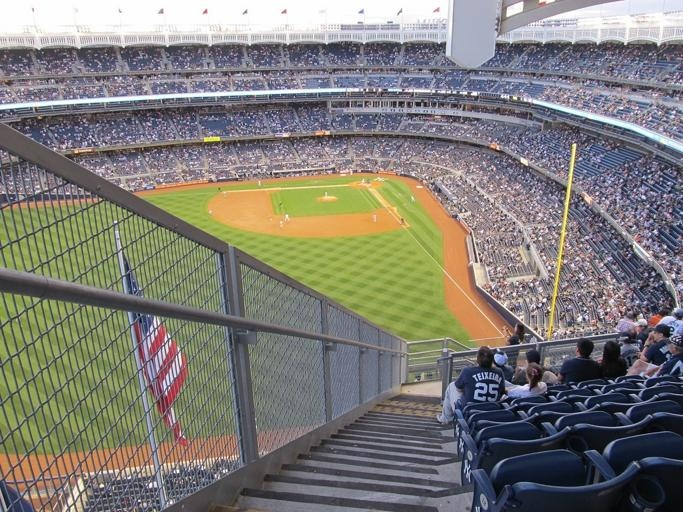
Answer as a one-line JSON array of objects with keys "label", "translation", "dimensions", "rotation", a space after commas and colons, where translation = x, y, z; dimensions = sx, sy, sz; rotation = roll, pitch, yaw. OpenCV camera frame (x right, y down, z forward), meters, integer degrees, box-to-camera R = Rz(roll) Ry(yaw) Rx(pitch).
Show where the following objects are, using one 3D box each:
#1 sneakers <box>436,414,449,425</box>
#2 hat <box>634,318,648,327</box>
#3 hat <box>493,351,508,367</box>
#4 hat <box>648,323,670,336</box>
[{"label": "sneakers", "translation": [1.284, 2.058, 7.129], "dimensions": [0.096, 0.086, 0.238], "rotation": [-6, 17, -15]}, {"label": "hat", "translation": [4.904, 1.112, 9.249], "dimensions": [0.185, 0.095, 0.207], "rotation": [-4, 20, 7]}, {"label": "hat", "translation": [1.853, 1.199, 6.643], "dimensions": [0.148, 0.152, 0.281], "rotation": [-14, -20, 9]}, {"label": "hat", "translation": [4.065, 0.950, 7.198], "dimensions": [0.185, 0.200, 0.395], "rotation": [-20, -23, 23]}]
